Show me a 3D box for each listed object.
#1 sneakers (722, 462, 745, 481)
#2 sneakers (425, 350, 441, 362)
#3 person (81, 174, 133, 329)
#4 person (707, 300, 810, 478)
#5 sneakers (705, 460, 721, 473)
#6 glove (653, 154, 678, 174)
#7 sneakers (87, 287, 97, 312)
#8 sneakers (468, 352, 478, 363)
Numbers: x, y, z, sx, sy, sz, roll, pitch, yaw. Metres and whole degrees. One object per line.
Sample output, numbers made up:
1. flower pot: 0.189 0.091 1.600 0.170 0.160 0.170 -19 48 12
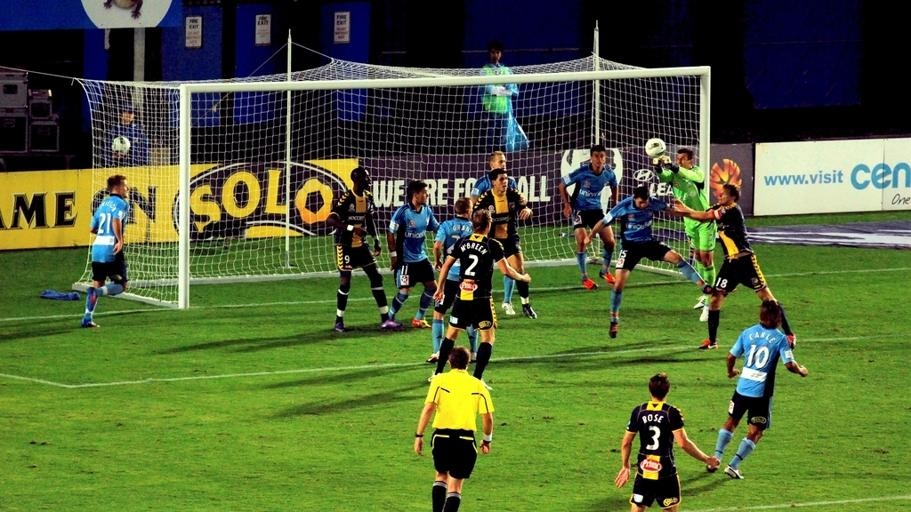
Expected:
1. sneakers: 4.555 3.562 19.307 0.401 0.174 0.141 33 -20 -12
2. sneakers: -0.437 2.001 22.988 0.143 0.153 0.414 8 0 -26
3. person: -7.565 -0.102 25.477 0.963 3.234 1.100 -1 3 -14
4. person: 4.904 2.199 19.671 1.609 2.863 0.972 -2 3 -34
5. sneakers: 4.174 3.473 19.305 0.224 0.101 0.272 7 2 -32
6. glove: 4.580 -2.040 25.883 0.419 0.443 0.184 -6 -7 10
7. sneakers: -7.730 0.922 25.067 0.216 0.542 0.262 9 -8 -4
8. sneakers: 0.343 1.983 22.833 0.195 0.212 0.231 -2 -5 3
